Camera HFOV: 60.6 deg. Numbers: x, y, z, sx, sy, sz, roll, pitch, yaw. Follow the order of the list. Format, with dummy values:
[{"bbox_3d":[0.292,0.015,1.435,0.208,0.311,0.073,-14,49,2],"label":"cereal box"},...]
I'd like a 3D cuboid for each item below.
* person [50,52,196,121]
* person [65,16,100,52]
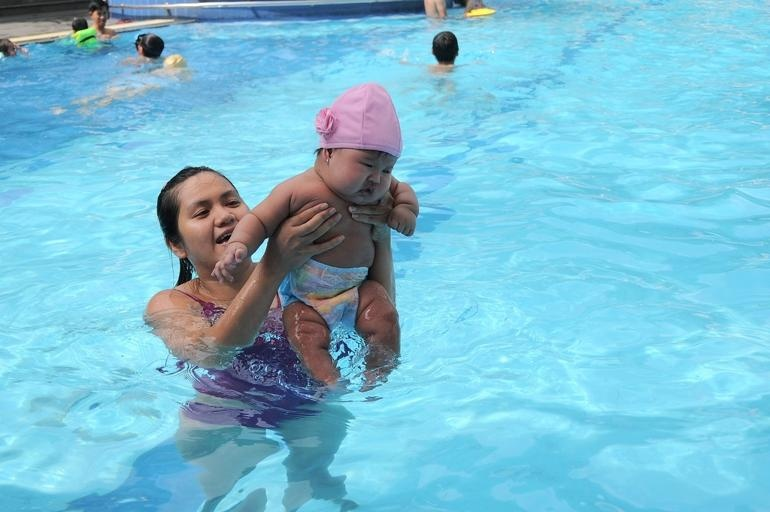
[{"bbox_3d":[-3.265,-2.185,8.500,1.702,0.326,0.946,-16,11,-12],"label":"person"},{"bbox_3d":[-4.927,-3.626,10.723,0.488,0.457,0.990,-18,26,-15],"label":"person"}]
